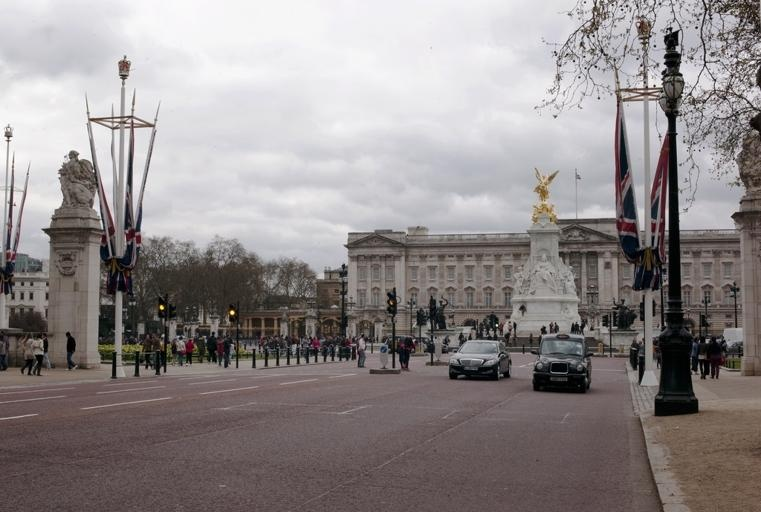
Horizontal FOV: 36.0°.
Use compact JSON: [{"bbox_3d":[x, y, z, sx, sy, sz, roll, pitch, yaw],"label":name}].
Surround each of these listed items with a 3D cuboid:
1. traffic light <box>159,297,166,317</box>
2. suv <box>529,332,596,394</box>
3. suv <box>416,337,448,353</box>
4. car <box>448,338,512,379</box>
[{"bbox_3d":[-10.870,2.601,59.066,0.332,0.974,1.194,1,-7,-9],"label":"traffic light"},{"bbox_3d":[6.970,3.839,45.606,2.199,1.801,3.949,2,8,14],"label":"suv"},{"bbox_3d":[3.683,6.539,86.010,2.269,0.965,2.747,1,0,4],"label":"suv"},{"bbox_3d":[4.142,4.384,50.028,1.989,1.746,3.064,-3,-7,21],"label":"car"}]
